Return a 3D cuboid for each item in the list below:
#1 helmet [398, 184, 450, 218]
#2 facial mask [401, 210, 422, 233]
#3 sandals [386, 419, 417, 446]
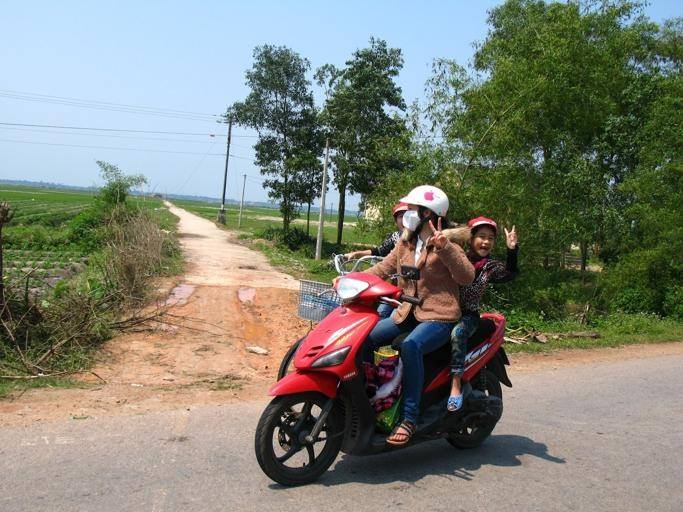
[{"bbox_3d":[0.922,-0.616,5.879,0.428,0.235,0.298,13,1,7],"label":"helmet"},{"bbox_3d":[0.757,-0.380,5.875,0.202,0.166,0.180,29,-33,-11],"label":"facial mask"},{"bbox_3d":[0.603,1.758,5.432,0.144,0.143,0.402,-3,-8,25],"label":"sandals"}]
